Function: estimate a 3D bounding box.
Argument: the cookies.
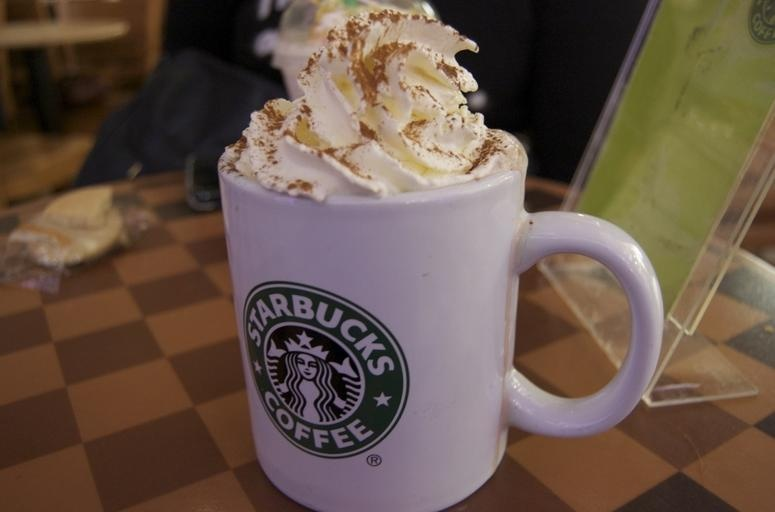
[{"bbox_3d":[-0.463,-0.041,0.942,0.103,0.056,0.137,22,43,39],"label":"cookies"}]
